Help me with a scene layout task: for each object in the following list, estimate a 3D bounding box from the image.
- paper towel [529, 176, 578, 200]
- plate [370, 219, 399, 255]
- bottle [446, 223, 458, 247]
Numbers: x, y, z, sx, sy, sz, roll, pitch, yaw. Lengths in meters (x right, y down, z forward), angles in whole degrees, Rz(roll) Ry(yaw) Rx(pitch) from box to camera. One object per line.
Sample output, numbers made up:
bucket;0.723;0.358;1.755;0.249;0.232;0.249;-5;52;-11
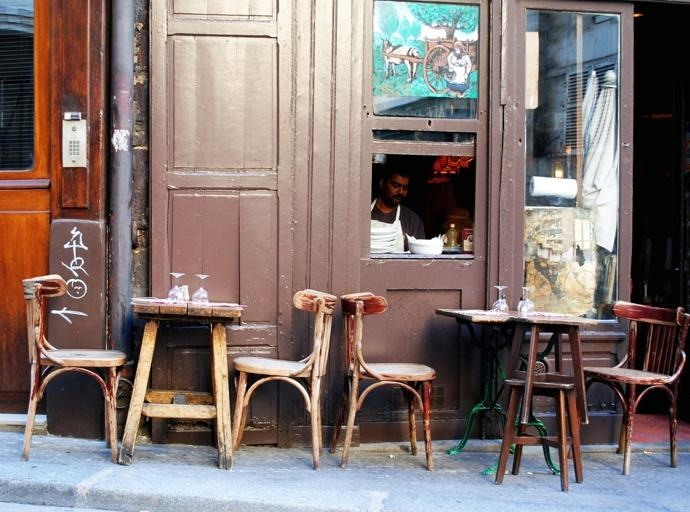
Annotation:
paper towel;1.921;-0.621;7.967;0.486;0.209;0.103;-2;6;-26
plate;0.374;-0.173;7.866;0.365;0.281;0.307;-1;6;-17
bottle;0.992;-0.189;7.979;0.119;0.207;0.267;1;6;7
